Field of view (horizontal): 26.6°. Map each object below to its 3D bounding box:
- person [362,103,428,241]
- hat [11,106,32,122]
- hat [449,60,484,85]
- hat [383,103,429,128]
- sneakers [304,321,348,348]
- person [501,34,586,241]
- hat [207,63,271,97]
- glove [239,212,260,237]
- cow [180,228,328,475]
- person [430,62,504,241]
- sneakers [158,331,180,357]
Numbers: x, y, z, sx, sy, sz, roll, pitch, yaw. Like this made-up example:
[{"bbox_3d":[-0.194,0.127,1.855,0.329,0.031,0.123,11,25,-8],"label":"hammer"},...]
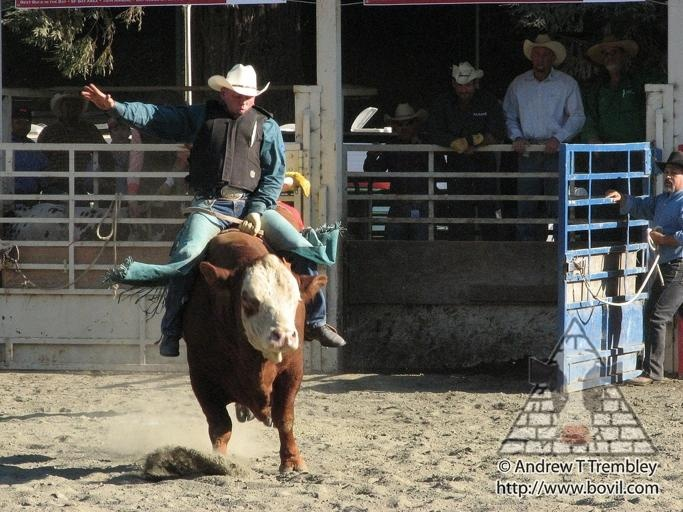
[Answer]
[{"bbox_3d":[0.674,-1.021,17.575,0.730,1.657,1.092,-1,2,2],"label":"person"},{"bbox_3d":[-4.018,-1.782,17.987,0.221,0.151,0.295,4,-8,-18],"label":"hat"},{"bbox_3d":[1.500,-2.186,17.359,0.321,0.298,0.458,-1,2,8],"label":"hat"},{"bbox_3d":[0.844,-1.810,18.678,0.556,0.226,0.593,-3,-1,14],"label":"hat"},{"bbox_3d":[-0.188,0.798,14.833,0.533,0.189,0.209,5,-34,1],"label":"sneakers"},{"bbox_3d":[2.425,-1.425,17.293,0.958,2.482,0.927,-1,2,6],"label":"person"},{"bbox_3d":[-1.072,-1.806,14.596,0.482,0.215,0.530,6,-10,-13],"label":"hat"},{"bbox_3d":[-0.880,-0.296,14.018,0.203,0.199,0.081,6,-30,-3],"label":"glove"},{"bbox_3d":[-0.844,0.929,13.559,1.416,2.325,0.816,0,2,36],"label":"cow"},{"bbox_3d":[1.516,-1.244,17.422,0.924,2.135,1.247,-1,2,9],"label":"person"},{"bbox_3d":[-1.727,0.877,14.029,0.271,0.261,0.163,0,0,5],"label":"sneakers"}]
